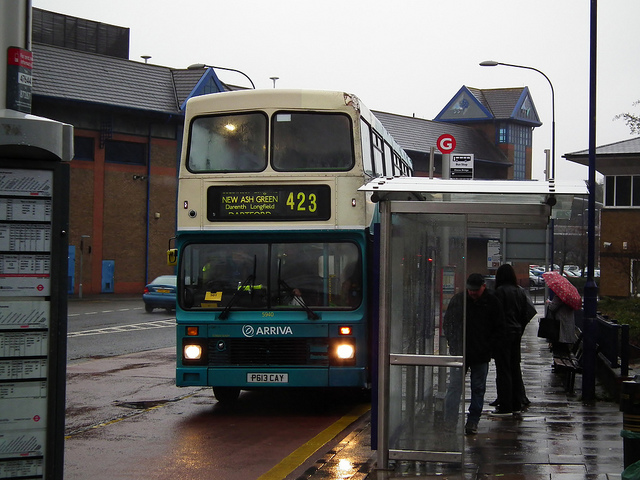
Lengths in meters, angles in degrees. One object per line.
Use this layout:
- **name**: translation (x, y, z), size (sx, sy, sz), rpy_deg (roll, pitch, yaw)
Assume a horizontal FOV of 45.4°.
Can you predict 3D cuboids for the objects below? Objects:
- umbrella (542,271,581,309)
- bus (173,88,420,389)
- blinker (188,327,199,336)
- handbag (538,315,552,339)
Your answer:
- **umbrella**: translation (4.510, 0.948, 14.327), size (0.582, 0.672, 0.862), rpy_deg (-2, -3, 26)
- **bus**: translation (-0.723, -0.017, 11.850), size (1.930, 3.098, 5.858), rpy_deg (0, -1, 13)
- **blinker**: translation (-1.963, 1.410, 11.853), size (0.183, 0.179, 0.103), rpy_deg (1, -2, 5)
- **handbag**: translation (4.108, 1.639, 14.028), size (0.239, 0.380, 0.491), rpy_deg (-1, -3, 16)
